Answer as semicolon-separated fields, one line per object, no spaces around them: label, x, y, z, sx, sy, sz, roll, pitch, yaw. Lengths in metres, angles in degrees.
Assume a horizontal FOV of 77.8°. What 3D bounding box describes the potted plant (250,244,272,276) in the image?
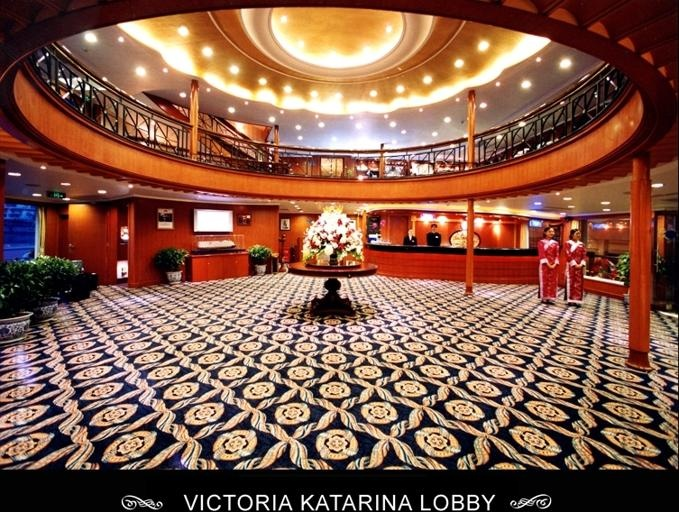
potted plant;-2.568;0.135;13.511;0.907;0.896;0.827;0;-2;-11

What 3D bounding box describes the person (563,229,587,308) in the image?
person;5.156;0.221;9.258;0.415;1.604;0.650;4;7;29

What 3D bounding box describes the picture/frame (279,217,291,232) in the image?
picture/frame;-2.384;-1.385;18.356;0.442;0.548;0.107;-1;6;-13

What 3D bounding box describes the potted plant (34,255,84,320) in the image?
potted plant;-5.346;0.627;7.971;1.096;1.012;0.820;4;-3;-10

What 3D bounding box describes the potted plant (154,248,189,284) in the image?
potted plant;-4.659;0.219;11.487;1.050;1.027;0.867;-1;0;-31

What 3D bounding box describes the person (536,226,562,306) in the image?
person;4.659;0.169;9.459;0.425;1.668;0.649;4;6;26

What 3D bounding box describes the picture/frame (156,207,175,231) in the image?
picture/frame;-4.741;-1.004;11.361;0.059;0.764;0.702;-8;-4;31
